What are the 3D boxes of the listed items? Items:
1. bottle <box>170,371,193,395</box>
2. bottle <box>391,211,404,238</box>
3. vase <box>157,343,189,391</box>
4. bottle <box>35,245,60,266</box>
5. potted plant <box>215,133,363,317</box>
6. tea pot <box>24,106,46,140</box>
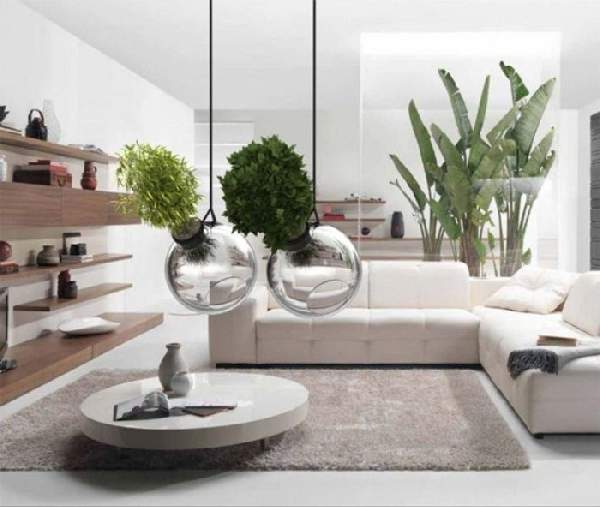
[{"bbox_3d":[-0.673,0.721,2.927,0.111,0.125,0.130,1,8,-15],"label":"bottle"},{"bbox_3d":[1.043,-0.301,5.543,0.140,0.295,0.024,1,6,15],"label":"bottle"},{"bbox_3d":[-0.747,0.652,3.012,0.168,0.253,0.169,5,1,44],"label":"vase"},{"bbox_3d":[-2.142,0.017,4.412,0.169,0.172,0.169,5,2,36],"label":"bottle"},{"bbox_3d":[-0.021,-0.051,1.265,0.327,0.459,0.168,1,6,9],"label":"potted plant"},{"bbox_3d":[-2.204,-1.062,4.320,0.164,0.301,0.166,-2,-1,0],"label":"tea pot"}]
